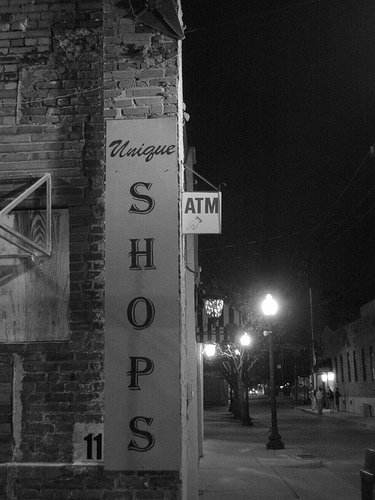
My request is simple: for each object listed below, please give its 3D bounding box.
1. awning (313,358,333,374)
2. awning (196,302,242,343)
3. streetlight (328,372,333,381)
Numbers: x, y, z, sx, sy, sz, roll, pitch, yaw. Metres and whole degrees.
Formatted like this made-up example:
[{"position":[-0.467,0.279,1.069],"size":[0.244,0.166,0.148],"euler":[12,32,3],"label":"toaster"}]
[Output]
[{"position":[8.704,7.297,55.303],"size":[1.074,0.339,1.307],"euler":[-7,0,17],"label":"awning"},{"position":[0.624,1.494,18.009],"size":[0.154,0.943,1.123],"euler":[-5,-7,31],"label":"awning"},{"position":[8.514,7.392,51.627],"size":[0.276,0.390,1.045],"euler":[-3,-15,8],"label":"streetlight"}]
